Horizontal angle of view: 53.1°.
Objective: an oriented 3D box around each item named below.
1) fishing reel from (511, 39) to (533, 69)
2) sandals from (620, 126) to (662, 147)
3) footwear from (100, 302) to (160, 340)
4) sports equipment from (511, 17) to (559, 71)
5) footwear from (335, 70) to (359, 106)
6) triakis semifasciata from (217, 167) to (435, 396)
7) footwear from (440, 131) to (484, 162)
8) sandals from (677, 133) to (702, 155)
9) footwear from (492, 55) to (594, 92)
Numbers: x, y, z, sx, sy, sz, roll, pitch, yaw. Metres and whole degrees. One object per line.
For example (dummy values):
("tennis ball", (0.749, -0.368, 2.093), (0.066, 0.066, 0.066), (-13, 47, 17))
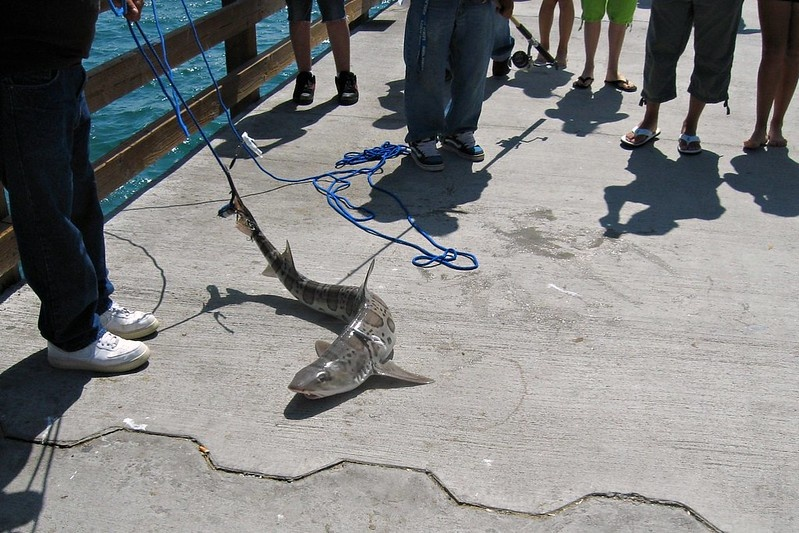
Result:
("fishing reel", (1.241, -2.076, 7.870), (0.229, 0.145, 0.292), (19, 58, 24))
("sandals", (2.011, -1.095, 6.718), (0.371, 0.079, 0.148), (-19, 19, -39))
("footwear", (-1.579, 0.326, 4.671), (0.417, 0.143, 0.145), (4, 25, -7))
("sports equipment", (1.333, -2.194, 7.863), (0.431, 0.688, 1.190), (4, 32, 8))
("footwear", (-0.497, -1.700, 7.551), (0.215, 0.259, 0.329), (-4, 33, -3))
("triakis semifasciata", (-0.634, 0.107, 5.069), (0.805, 0.340, 2.364), (-1, 24, -26))
("footwear", (0.524, -0.999, 6.562), (0.448, 0.179, 0.154), (28, 53, 36))
("sandals", (2.396, -1.028, 6.584), (0.189, 0.133, 0.258), (9, 33, 14))
("footwear", (1.323, -1.968, 7.884), (1.113, 0.373, 0.305), (1, 75, 12))
